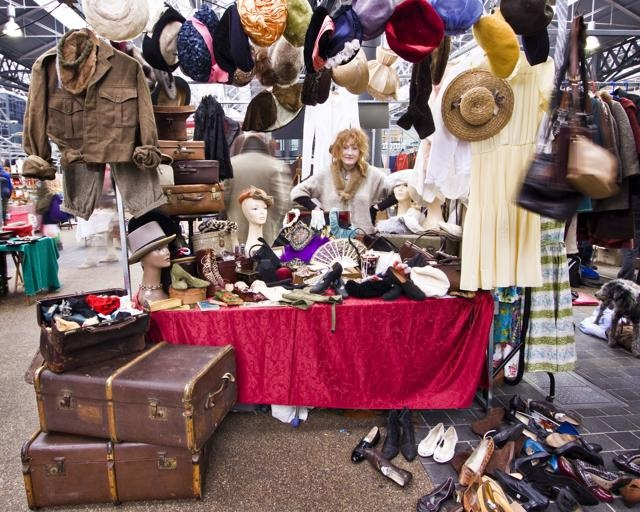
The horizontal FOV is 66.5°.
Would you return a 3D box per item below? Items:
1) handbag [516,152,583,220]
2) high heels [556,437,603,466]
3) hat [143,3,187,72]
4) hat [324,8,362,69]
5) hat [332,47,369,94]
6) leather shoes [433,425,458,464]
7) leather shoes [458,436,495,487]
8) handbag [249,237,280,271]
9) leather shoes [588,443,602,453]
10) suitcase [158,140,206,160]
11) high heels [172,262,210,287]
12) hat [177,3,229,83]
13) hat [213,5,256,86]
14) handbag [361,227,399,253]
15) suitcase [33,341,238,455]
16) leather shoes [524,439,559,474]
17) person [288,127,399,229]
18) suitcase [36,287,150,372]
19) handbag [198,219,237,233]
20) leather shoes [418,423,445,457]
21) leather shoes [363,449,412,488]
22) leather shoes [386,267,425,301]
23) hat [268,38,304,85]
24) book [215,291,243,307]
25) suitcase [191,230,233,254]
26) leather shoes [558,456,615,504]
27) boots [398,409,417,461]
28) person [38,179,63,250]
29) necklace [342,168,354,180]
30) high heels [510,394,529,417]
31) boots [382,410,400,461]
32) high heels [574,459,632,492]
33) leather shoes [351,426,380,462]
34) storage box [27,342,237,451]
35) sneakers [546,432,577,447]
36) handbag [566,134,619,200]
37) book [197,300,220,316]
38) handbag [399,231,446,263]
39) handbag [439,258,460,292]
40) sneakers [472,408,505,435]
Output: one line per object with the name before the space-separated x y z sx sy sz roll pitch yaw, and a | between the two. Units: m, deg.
handbag | 1.043 -0.302 2.235 0.240 0.341 0.138 10 11 9
high heels | 1.617 1.219 3.046 0.339 0.142 0.124 18 9 -20
hat | -0.998 -1.365 3.192 0.187 0.384 0.300 24 46 -7
hat | 0.118 -1.228 2.743 0.202 0.287 0.083 4 8 29
hat | 0.227 -1.371 3.636 0.108 0.341 0.320 -23 28 -38
leather shoes | 0.808 1.233 3.157 0.096 0.078 0.272 -2 17 28
leather shoes | 0.961 1.250 2.975 0.124 0.086 0.388 -14 14 35
handbag | -0.402 -0.003 3.718 0.230 0.244 0.169 -7 20 32
leather shoes | 1.783 1.245 3.150 0.139 0.055 0.058 10 -10 -40
suitcase | -1.036 -0.795 3.637 0.321 0.157 0.184 -2 8 -18
high heels | -0.876 0.144 3.356 0.310 0.195 0.109 2 2 -17
hat | -0.756 -1.391 3.113 0.169 0.481 0.354 3 -12 1
hat | -0.571 -1.317 3.045 0.291 0.396 0.115 -34 46 -17
handbag | 0.496 -0.120 4.022 0.255 0.099 0.144 22 12 -8
suitcase | -1.037 0.777 2.867 0.811 0.348 0.570 0 10 10
leather shoes | 1.385 1.252 3.075 0.090 0.091 0.261 -3 9 -2
person | 0.240 -0.687 4.508 0.931 0.924 0.445 -4 8 -26
suitcase | -1.467 0.402 3.018 0.485 0.329 0.489 -9 20 -40
handbag | -0.779 -0.228 3.659 0.170 0.068 0.139 2 8 7
leather shoes | 0.736 1.215 3.208 0.095 0.086 0.293 -1 14 33
leather shoes | 0.407 1.273 2.988 0.275 0.081 0.118 25 16 35
leather shoes | 0.580 0.207 3.380 0.247 0.082 0.193 34 61 28
hat | -0.242 -1.391 3.470 0.203 0.204 0.257 1 -5 -2
book | -0.627 0.280 3.338 0.091 0.059 0.154 -3 13 -43
suitcase | -0.806 -0.044 3.630 0.160 0.178 0.264 -3 -2 31
leather shoes | 1.569 1.330 2.866 0.333 0.127 0.124 39 0 22
boots | 0.572 1.197 3.225 0.079 0.112 0.275 -3 37 5
person | -4.702 -0.664 8.482 0.352 1.307 2.355 -4 9 -28
necklace | 0.255 -0.760 4.482 0.082 0.126 0.030 -1 -10 15
high heels | 1.460 1.091 3.558 0.063 0.102 0.185 -9 -16 40
boots | 0.482 1.187 3.232 0.083 0.123 0.288 0 24 14
high heels | 1.676 1.309 2.918 0.302 0.126 0.115 13 -28 45
leather shoes | 0.287 1.229 3.187 0.092 0.097 0.262 0 32 41
storage box | -1.101 0.790 2.883 0.899 0.355 0.571 3 11 8
sneakers | 1.573 1.198 3.171 0.152 0.059 0.091 -5 14 -20
handbag | 1.200 -0.399 2.145 0.200 0.271 0.098 4 8 25
book | -0.753 0.340 3.266 0.193 0.046 0.134 7 10 40
handbag | 0.788 -0.094 3.843 0.297 0.219 0.285 17 24 33
handbag | 0.923 0.139 3.426 0.185 0.198 0.149 -3 1 -5
sneakers | 1.159 1.148 3.369 0.108 0.118 0.304 2 10 37
